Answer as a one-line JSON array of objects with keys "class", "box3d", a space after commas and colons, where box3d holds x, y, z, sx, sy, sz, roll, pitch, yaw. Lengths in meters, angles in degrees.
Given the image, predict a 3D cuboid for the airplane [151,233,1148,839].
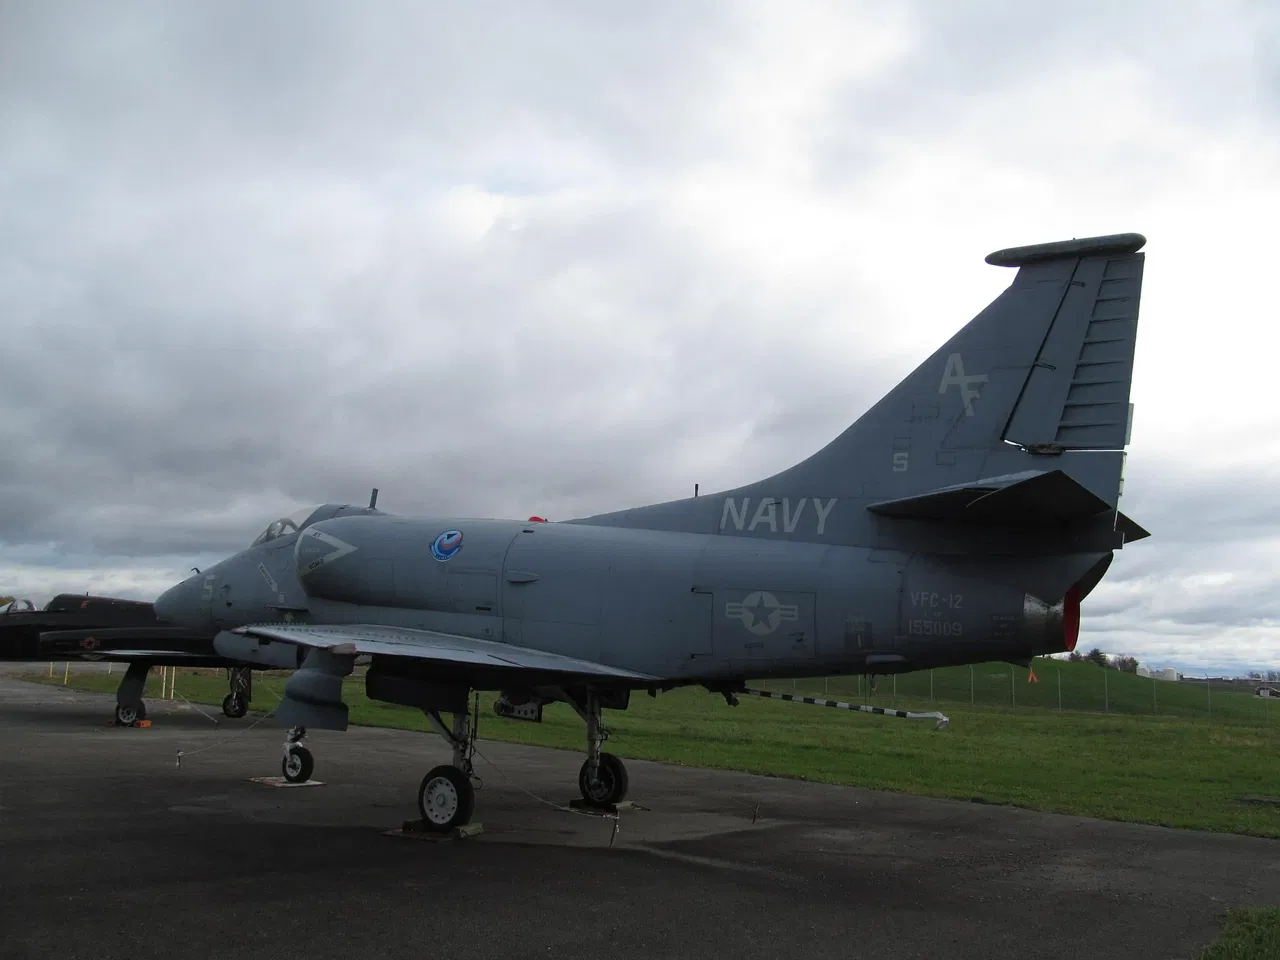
[{"class": "airplane", "box3d": [0.766, 1.048, 11.182, 9.741, 4.371, 8.658, -1, -8, 27]}]
